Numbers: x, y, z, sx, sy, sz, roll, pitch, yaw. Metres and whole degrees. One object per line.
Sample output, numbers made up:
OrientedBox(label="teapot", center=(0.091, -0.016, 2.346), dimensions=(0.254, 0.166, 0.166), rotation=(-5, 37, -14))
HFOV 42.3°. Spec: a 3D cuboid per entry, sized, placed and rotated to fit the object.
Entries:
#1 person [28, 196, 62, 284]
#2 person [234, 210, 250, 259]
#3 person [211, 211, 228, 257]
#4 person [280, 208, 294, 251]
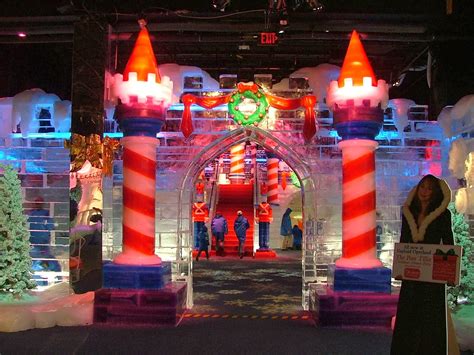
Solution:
OrientedBox(label="person", center=(-3.568, 1.068, 11.286), dimensions=(0.697, 1.484, 0.172), rotation=(0, -7, 16))
OrientedBox(label="person", center=(0.139, 1.583, 17.262), dimensions=(0.389, 1.299, 0.721), rotation=(1, -6, 1))
OrientedBox(label="person", center=(-0.507, 1.629, 17.583), dimensions=(0.448, 1.147, 0.726), rotation=(2, -6, -2))
OrientedBox(label="person", center=(1.654, 1.661, 20.180), dimensions=(0.396, 1.359, 0.654), rotation=(1, -6, 4))
